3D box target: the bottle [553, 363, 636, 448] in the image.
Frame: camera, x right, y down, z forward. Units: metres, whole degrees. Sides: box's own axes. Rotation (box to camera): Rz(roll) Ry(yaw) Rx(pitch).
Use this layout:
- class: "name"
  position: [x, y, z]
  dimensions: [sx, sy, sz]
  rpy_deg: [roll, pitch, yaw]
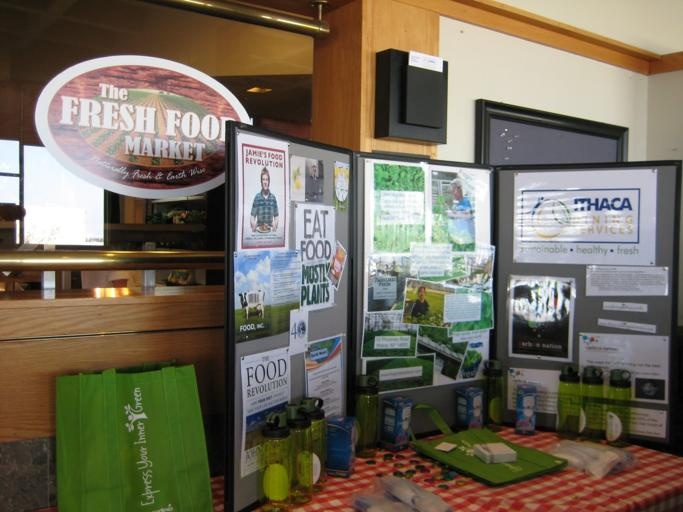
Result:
- class: "bottle"
  position: [0.983, 0.583, 2.038]
  dimensions: [0.273, 0.328, 0.096]
  rpy_deg: [2, -4, 2]

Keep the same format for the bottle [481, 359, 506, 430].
- class: "bottle"
  position: [0.634, 0.568, 2.186]
  dimensions: [0.068, 0.283, 0.071]
  rpy_deg: [-3, 9, 1]
